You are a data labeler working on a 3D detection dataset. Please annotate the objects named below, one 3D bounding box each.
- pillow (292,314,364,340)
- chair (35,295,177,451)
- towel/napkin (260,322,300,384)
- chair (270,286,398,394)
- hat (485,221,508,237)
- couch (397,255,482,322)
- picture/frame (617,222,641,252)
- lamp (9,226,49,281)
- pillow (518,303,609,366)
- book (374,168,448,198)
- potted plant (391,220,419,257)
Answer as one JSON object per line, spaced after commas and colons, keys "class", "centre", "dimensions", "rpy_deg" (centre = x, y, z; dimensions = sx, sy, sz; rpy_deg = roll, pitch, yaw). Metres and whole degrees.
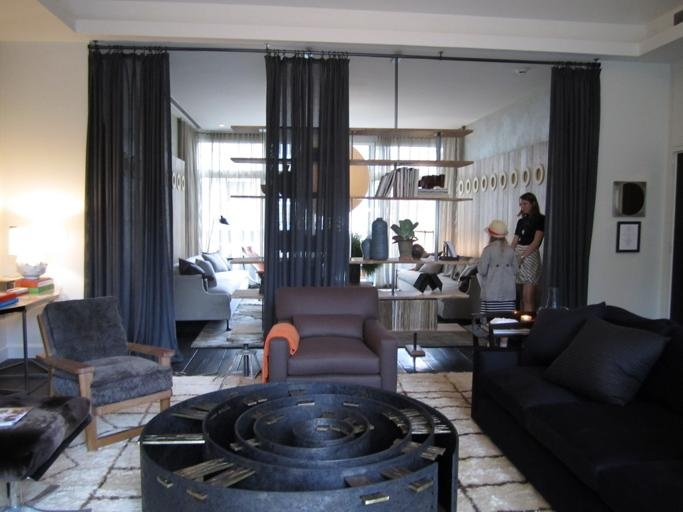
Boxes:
{"class": "pillow", "centre": [-0.108, 0.646, 4.983], "dimensions": [0.520, 0.211, 0.100], "rpy_deg": [0, -28, -1]}
{"class": "chair", "centre": [-1.876, 0.892, 4.300], "dimensions": [0.882, 1.102, 0.873], "rpy_deg": [-3, 4, -38]}
{"class": "towel/napkin", "centre": [-0.538, 0.840, 4.730], "dimensions": [0.300, 0.404, 0.411], "rpy_deg": [-4, 11, 6]}
{"class": "chair", "centre": [-0.128, 0.715, 4.910], "dimensions": [1.087, 0.711, 0.990], "rpy_deg": [-1, 8, -7]}
{"class": "hat", "centre": [1.661, -0.285, 5.860], "dimensions": [0.174, 0.081, 0.201], "rpy_deg": [-12, 28, -23]}
{"class": "couch", "centre": [1.564, 0.415, 8.305], "dimensions": [0.616, 0.822, 2.059], "rpy_deg": [4, 5, -6]}
{"class": "picture/frame", "centre": [3.235, -0.226, 6.128], "dimensions": [0.306, 0.462, 0.030], "rpy_deg": [0, 2, -3]}
{"class": "lamp", "centre": [-3.066, -0.031, 5.303], "dimensions": [0.307, 0.502, 0.185], "rpy_deg": [-5, 10, -34]}
{"class": "pillow", "centre": [1.718, 0.645, 4.189], "dimensions": [0.220, 0.545, 0.511], "rpy_deg": [29, -7, -17]}
{"class": "book", "centre": [0.789, -0.817, 6.087], "dimensions": [0.792, 0.347, 0.459], "rpy_deg": [2, 8, 7]}
{"class": "potted plant", "centre": [0.696, -0.202, 6.062], "dimensions": [0.359, 0.549, 0.388], "rpy_deg": [0, -4, -1]}
